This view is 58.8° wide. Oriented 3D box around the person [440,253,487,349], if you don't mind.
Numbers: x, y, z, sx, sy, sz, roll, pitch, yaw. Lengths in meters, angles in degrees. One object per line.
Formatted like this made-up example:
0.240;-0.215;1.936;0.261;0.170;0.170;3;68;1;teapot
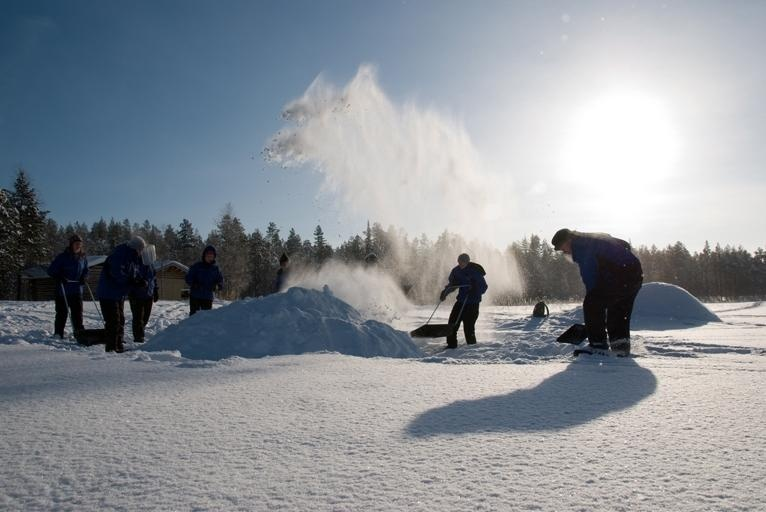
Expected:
1.457;0.762;12.335;0.805;1.685;1.667;-1;-3;8;person

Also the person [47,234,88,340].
-5.326;0.488;11.499;0.588;1.758;1.046;0;-3;-26;person

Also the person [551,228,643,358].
2.947;0.448;9.152;1.033;1.671;0.749;-2;-3;15;person

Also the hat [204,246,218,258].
-3.023;-0.060;11.813;0.176;0.248;0.244;4;-2;8;hat

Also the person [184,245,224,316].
-3.108;0.393;11.838;0.605;1.202;0.956;0;-3;-17;person

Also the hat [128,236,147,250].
-3.802;-0.198;10.453;0.242;0.100;0.193;12;3;15;hat

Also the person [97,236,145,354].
-3.923;0.530;10.026;0.448;1.680;0.900;-1;-3;3;person

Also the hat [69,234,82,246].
-5.197;-0.281;11.553;0.220;0.196;0.208;-14;-18;41;hat

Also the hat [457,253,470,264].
1.476;0.043;12.398;0.145;0.208;0.192;6;11;-4;hat
